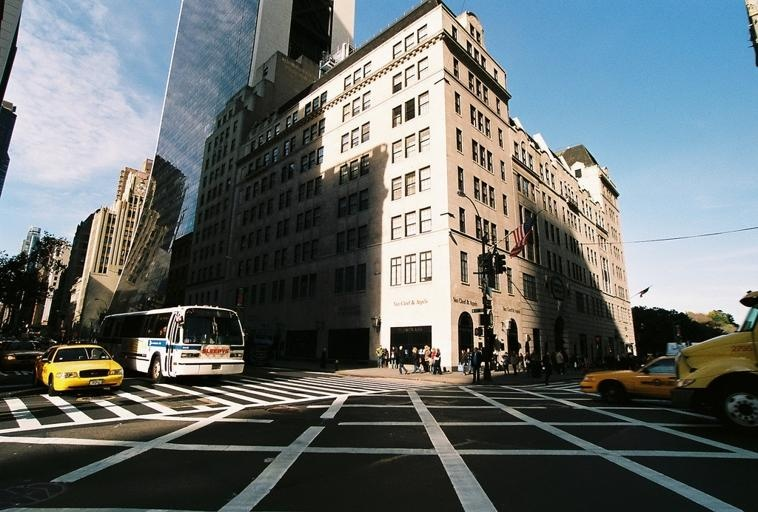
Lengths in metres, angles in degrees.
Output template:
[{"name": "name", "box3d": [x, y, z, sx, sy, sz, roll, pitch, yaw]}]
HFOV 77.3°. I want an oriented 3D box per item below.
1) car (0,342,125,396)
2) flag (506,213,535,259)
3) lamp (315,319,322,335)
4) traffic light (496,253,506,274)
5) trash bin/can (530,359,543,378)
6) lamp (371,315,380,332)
[{"name": "car", "box3d": [-12.080, 4.452, 18.782, 3.307, 2.015, 1.976, -9, -17, 27]}, {"name": "flag", "box3d": [11.793, -1.623, 39.805, 2.552, 0.617, 5.569, -47, -13, 22]}, {"name": "lamp", "box3d": [-5.450, 6.459, 43.625, 0.332, 1.196, 0.914, 8, -18, -31]}, {"name": "traffic light", "box3d": [6.850, 0.444, 26.787, 0.430, 1.048, 0.864, -10, -17, 28]}, {"name": "trash bin/can", "box3d": [9.807, 6.998, 29.501, 0.644, 1.121, 0.782, -8, -17, 25]}, {"name": "lamp", "box3d": [-0.275, 5.563, 38.482, 0.870, 1.320, 0.287, -12, -19, 35]}]
